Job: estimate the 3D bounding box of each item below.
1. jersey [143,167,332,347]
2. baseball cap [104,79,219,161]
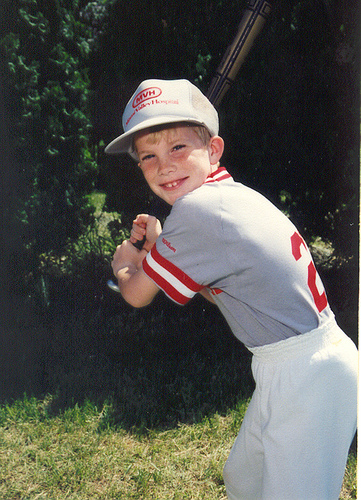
[{"bbox_3d":[0.178,0.006,2.058,0.598,0.532,0.465,7,12,31],"label":"jersey"},{"bbox_3d":[-0.068,-0.489,2.072,0.290,0.206,0.413,-5,6,33],"label":"baseball cap"}]
